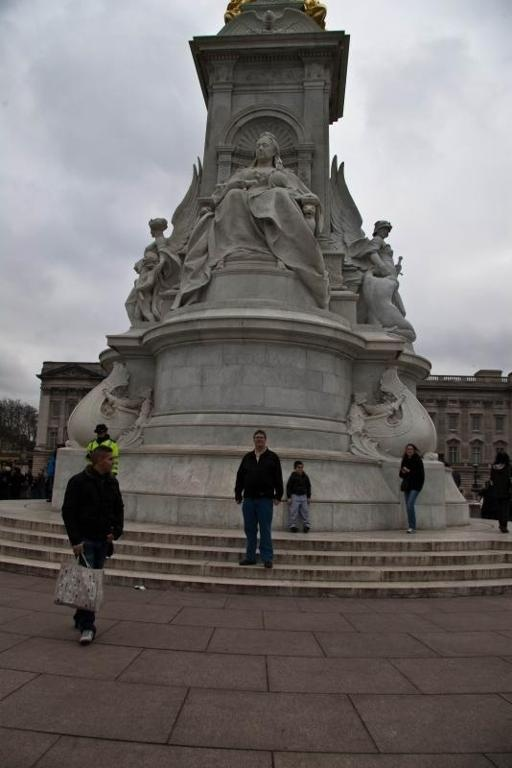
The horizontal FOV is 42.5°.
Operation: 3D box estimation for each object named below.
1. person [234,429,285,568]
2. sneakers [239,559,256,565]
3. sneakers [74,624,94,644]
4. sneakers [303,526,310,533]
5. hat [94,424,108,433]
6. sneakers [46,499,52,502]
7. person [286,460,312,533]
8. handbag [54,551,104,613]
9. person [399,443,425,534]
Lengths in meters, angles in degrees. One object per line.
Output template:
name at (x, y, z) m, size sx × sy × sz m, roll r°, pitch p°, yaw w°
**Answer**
person at (0.013, 1.337, 7.778) m, size 0.527 × 1.574 × 0.488 m, roll 4°, pitch -4°, yaw -1°
sneakers at (-0.100, 2.063, 7.660) m, size 0.193 × 0.074 × 0.213 m, roll 4°, pitch -4°, yaw 0°
sneakers at (-1.276, 1.883, 4.868) m, size 0.077 × 0.097 × 0.228 m, roll 2°, pitch -34°, yaw -2°
sneakers at (0.754, 2.192, 9.898) m, size 0.098 × 0.135 × 0.082 m, roll 0°, pitch -1°, yaw -13°
hat at (-2.480, 0.708, 10.479) m, size 0.250 × 0.136 × 0.354 m, roll 2°, pitch -3°, yaw -2°
sneakers at (-4.948, 2.788, 15.700) m, size 0.094 × 0.042 × 0.126 m, roll 1°, pitch -7°, yaw -6°
person at (0.631, 1.704, 9.977) m, size 0.397 × 1.037 × 0.581 m, roll 0°, pitch -6°, yaw 41°
handbag at (-1.336, 1.532, 4.952) m, size 0.331 × 0.304 × 0.271 m, roll 4°, pitch -4°, yaw -8°
person at (2.531, 1.711, 10.768) m, size 0.350 × 1.426 × 0.419 m, roll 3°, pitch -5°, yaw 13°
